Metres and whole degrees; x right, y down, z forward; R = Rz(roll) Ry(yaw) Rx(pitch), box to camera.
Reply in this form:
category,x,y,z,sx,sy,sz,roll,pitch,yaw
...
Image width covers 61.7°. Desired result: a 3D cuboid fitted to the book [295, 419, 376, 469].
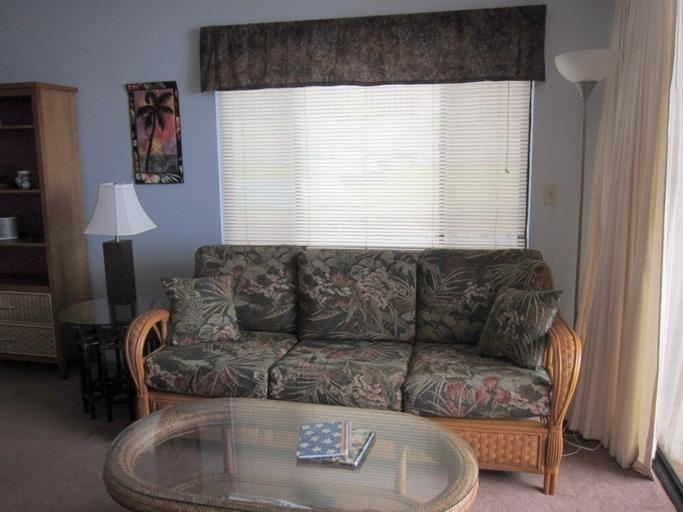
category,x,y,z,sx,sy,sz,roll,pitch,yaw
book,-0.032,0.925,2.802,0.226,0.053,0.230,2,26,11

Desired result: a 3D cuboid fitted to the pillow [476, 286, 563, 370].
category,x,y,z,sx,sy,sz,roll,pitch,yaw
pillow,1.068,0.428,3.515,0.282,0.433,0.503,-11,9,-21

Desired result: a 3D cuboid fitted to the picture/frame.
category,x,y,z,sx,sy,sz,roll,pitch,yaw
picture/frame,-1.468,-0.976,4.546,0.460,0.783,0.084,3,13,12

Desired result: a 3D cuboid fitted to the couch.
category,x,y,z,sx,sy,sz,roll,pitch,yaw
couch,0.028,0.618,3.823,2.704,1.106,1.004,2,21,13

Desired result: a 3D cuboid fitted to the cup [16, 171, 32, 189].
category,x,y,z,sx,sy,sz,roll,pitch,yaw
cup,-2.527,-0.610,4.577,0.109,0.137,0.244,-10,16,-41
